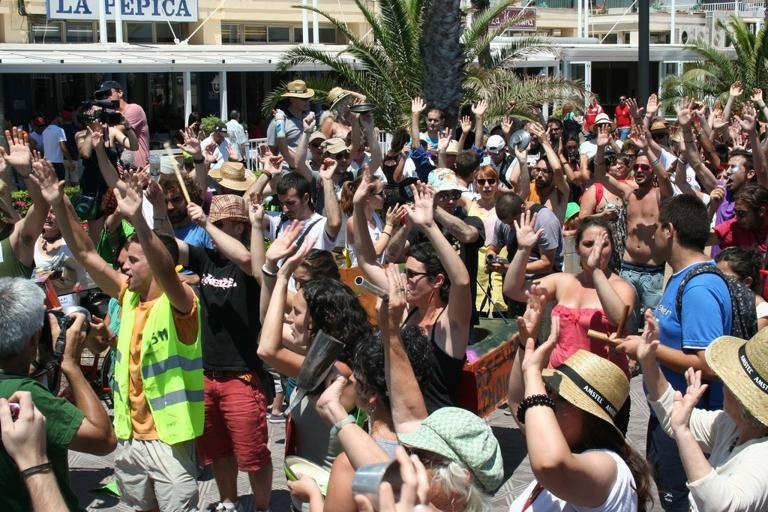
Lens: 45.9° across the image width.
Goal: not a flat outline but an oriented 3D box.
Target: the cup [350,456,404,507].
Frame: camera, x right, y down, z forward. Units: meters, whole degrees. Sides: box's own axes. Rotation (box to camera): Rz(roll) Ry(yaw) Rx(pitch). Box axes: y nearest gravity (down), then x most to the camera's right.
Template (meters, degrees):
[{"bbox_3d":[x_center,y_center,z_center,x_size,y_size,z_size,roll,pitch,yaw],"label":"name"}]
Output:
[{"bbox_3d":[-0.041,1.375,5.657,0.281,0.322,0.292,-3,7,0],"label":"cup"}]

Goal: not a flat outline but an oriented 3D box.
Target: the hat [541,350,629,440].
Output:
[{"bbox_3d":[1.520,0.871,6.478,0.676,0.358,0.807,28,5,10],"label":"hat"}]

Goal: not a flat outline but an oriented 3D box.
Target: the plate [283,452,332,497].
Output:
[{"bbox_3d":[-0.577,1.601,6.650,0.348,0.269,0.308,-4,9,4],"label":"plate"}]

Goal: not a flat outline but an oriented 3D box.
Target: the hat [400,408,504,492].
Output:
[{"bbox_3d":[0.493,1.347,6.123,0.617,0.355,0.488,37,4,-10],"label":"hat"}]
